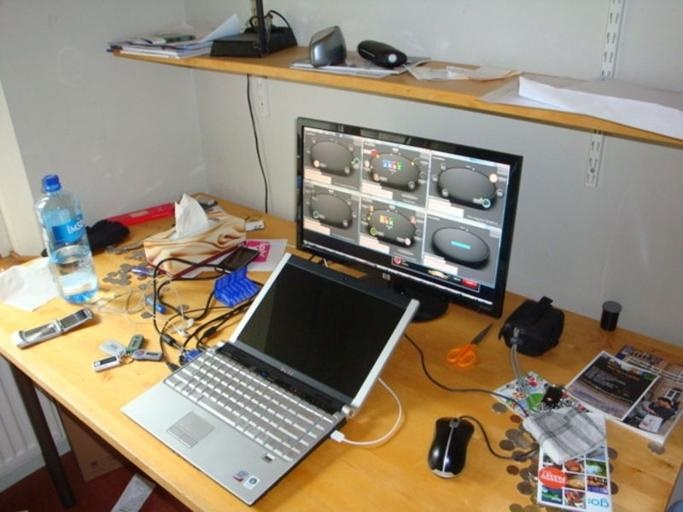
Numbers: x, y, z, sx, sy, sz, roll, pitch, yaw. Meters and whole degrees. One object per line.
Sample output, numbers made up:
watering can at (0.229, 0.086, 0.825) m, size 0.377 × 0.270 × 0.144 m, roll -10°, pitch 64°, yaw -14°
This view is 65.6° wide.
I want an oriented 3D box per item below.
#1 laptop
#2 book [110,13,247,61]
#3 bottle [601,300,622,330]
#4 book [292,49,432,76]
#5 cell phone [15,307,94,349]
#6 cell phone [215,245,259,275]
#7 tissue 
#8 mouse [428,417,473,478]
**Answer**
laptop at (-0.153, 0.299, 1.331) m, size 0.484 × 0.190 × 0.629 m, roll 26°, pitch 44°, yaw 34°
book at (-0.560, -0.749, 1.799) m, size 0.344 × 0.123 × 0.464 m, roll -23°, pitch 39°, yaw -30°
bottle at (0.777, 0.170, 1.527) m, size 0.046 × 0.061 × 0.050 m, roll -1°, pitch 32°, yaw 0°
book at (0.053, -0.522, 1.465) m, size 0.392 × 0.019 × 0.196 m, roll -1°, pitch 33°, yaw 0°
cell phone at (-0.811, 0.210, 1.556) m, size 0.242 × 0.035 × 0.074 m, roll -28°, pitch 45°, yaw -30°
cell phone at (-0.356, 0.013, 1.804) m, size 0.076 × 0.035 × 0.104 m, roll 13°, pitch 36°, yaw 33°
tissue  at (-0.508, -0.097, 1.838) m, size 0.179 × 0.212 × 0.331 m, roll 17°, pitch 32°, yaw 35°
mouse at (0.257, 0.434, 1.232) m, size 0.098 × 0.055 × 0.172 m, roll 4°, pitch 34°, yaw 23°
